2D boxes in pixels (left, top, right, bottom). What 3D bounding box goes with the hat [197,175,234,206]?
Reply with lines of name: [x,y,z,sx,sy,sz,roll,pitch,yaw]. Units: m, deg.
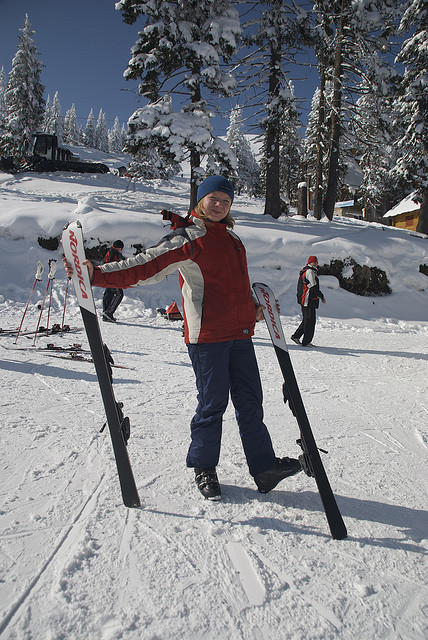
hat: [-0.004,-0.750,2.874,0.179,0.141,0.180,5,13,-5]

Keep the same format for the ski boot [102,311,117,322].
ski boot: [-1.941,-0.064,9.019,0.136,0.319,0.107,-29,9,-13]

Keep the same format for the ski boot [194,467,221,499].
ski boot: [-0.039,0.906,2.735,0.117,0.137,0.174,1,8,-17]

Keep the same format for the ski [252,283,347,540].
ski: [0.718,0.670,4.088,0.131,1.897,0.203,-8,-17,-48]

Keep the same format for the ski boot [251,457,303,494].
ski boot: [0.346,0.886,2.772,0.328,0.142,0.108,-32,11,-18]
